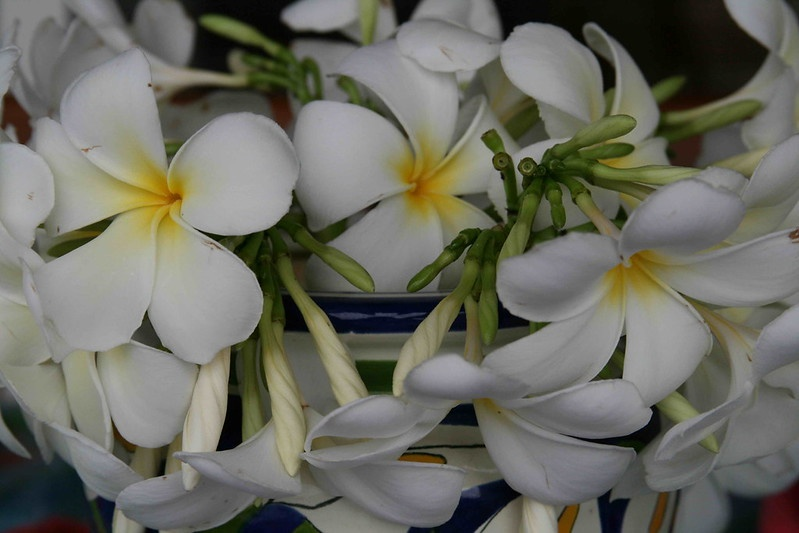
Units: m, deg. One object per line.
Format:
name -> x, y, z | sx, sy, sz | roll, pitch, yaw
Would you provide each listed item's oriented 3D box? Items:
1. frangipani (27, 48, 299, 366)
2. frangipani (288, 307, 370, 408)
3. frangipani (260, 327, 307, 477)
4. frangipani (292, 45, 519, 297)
frangipani -> -0.177, -0.040, 0.669 | 0.216, 0.240, 0.070 | 10, 6, 17
frangipani -> -0.070, 0.061, 0.704 | 0.025, 0.029, 0.122 | -37, 67, 9
frangipani -> -0.091, 0.108, 0.658 | 0.025, 0.026, 0.123 | -16, 62, -13
frangipani -> 0.008, -0.093, 0.736 | 0.112, 0.183, 0.191 | 16, 37, 39
